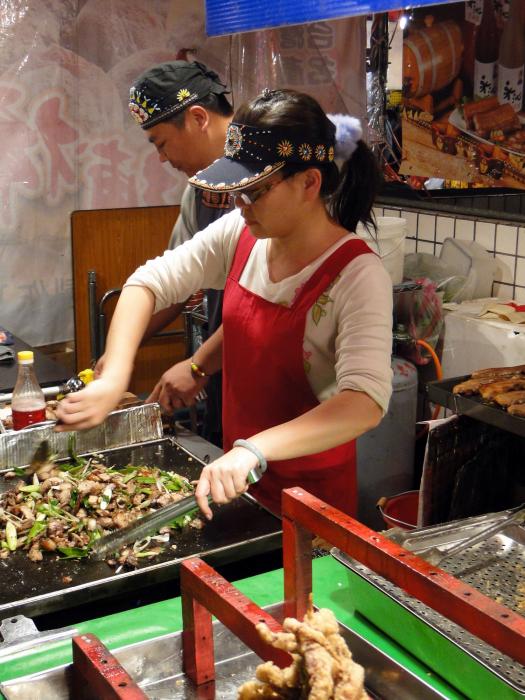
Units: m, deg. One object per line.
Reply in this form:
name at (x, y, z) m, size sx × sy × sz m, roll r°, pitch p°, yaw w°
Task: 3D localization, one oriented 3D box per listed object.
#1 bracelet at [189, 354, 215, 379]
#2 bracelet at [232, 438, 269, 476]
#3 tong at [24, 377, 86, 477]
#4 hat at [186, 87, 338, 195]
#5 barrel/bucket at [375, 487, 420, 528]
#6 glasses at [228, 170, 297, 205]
bracelet at (-0.232, 0.066, 2.116) m, size 0.089 × 0.062 × 0.039 m, roll 14°, pitch -11°, yaw -29°
bracelet at (-0.010, 0.219, 1.160) m, size 0.057 × 0.074 × 0.030 m, roll -23°, pitch 20°, yaw 49°
tong at (-0.781, 0.291, 2.293) m, size 0.112 × 0.433 × 0.098 m, roll 26°, pitch 22°, yaw 37°
hat at (0.030, -0.536, 1.520) m, size 0.381 × 0.208 × 0.238 m, roll -16°, pitch 30°, yaw -18°
barrel/bucket at (0.706, 0.828, 2.969) m, size 0.240 × 0.190 × 0.181 m, roll -8°, pitch 27°, yaw -5°
glasses at (-0.003, -0.418, 1.459) m, size 0.100 × 0.027 × 0.099 m, roll -29°, pitch 8°, yaw -38°
